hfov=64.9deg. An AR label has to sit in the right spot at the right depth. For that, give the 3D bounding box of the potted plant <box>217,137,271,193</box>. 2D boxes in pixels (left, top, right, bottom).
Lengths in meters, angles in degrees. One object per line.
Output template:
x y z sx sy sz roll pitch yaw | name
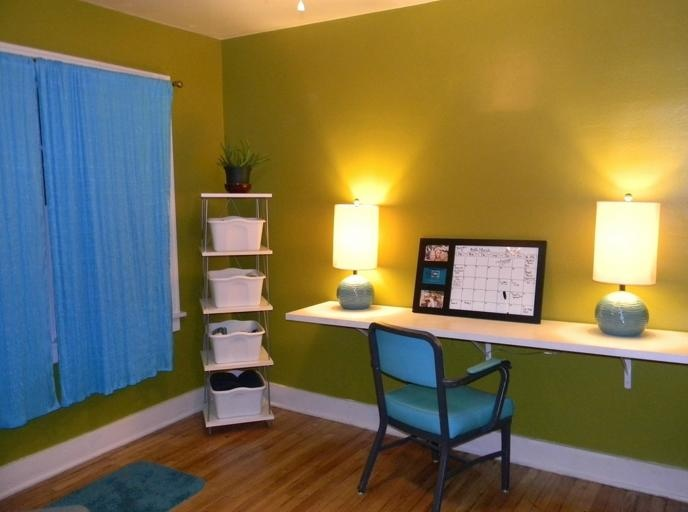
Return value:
-0.825 -0.641 4.048 0.342 0.341 0.378 -1 -2 -40 | potted plant

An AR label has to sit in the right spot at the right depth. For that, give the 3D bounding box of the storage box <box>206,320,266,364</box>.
-0.825 0.641 4.076 0.291 0.192 0.365 0 4 -19 | storage box

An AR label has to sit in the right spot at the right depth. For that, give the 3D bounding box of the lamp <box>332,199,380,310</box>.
0.089 0.010 3.815 0.318 0.745 0.369 0 13 3 | lamp

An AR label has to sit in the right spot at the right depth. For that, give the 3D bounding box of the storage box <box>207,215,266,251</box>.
-0.779 -0.136 4.013 0.391 0.238 0.284 -1 -9 -10 | storage box

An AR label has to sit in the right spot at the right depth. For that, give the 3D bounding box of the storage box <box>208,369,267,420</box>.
-0.810 1.025 4.108 0.410 0.277 0.420 -4 13 -14 | storage box

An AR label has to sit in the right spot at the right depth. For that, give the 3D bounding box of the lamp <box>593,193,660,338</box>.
1.598 0.048 3.112 0.331 0.780 0.348 7 15 30 | lamp

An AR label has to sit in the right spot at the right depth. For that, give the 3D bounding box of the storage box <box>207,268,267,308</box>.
-0.826 0.260 4.038 0.435 0.220 0.363 -1 -1 -34 | storage box
